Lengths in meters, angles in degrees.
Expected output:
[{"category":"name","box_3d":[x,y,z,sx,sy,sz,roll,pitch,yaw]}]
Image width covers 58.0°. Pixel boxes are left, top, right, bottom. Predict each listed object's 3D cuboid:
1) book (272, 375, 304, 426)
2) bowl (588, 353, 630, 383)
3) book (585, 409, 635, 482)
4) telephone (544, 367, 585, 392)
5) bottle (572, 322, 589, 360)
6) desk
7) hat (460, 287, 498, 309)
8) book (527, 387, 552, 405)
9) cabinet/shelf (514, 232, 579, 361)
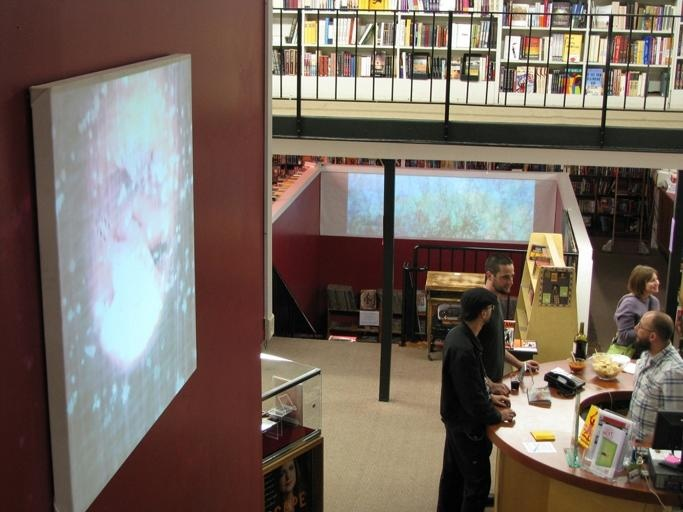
[{"category":"book","box_3d":[-0.346,0.894,3.881,0.155,0.328,0.202,-15,23,-42]},{"category":"bowl","box_3d":[1.991,0.810,4.602,0.178,0.114,0.238,1,8,5]},{"category":"book","box_3d":[1.519,1.084,3.484,0.155,0.460,0.256,3,9,-41]},{"category":"telephone","box_3d":[1.634,0.897,4.513,0.288,0.092,0.289,12,20,41]},{"category":"bottle","box_3d":[1.865,0.639,4.799,0.094,0.321,0.297,4,14,20]},{"category":"desk","box_3d":[1.519,0.813,8.289,0.730,1.208,0.707,2,0,20]},{"category":"hat","box_3d":[0.945,0.279,4.175,0.189,0.147,0.306,8,17,33]},{"category":"book","box_3d":[1.385,0.966,4.312,0.157,0.066,0.197,3,15,16]},{"category":"cabinet/shelf","box_3d":[2.129,0.441,6.340,0.336,0.852,1.038,0,17,6]}]
